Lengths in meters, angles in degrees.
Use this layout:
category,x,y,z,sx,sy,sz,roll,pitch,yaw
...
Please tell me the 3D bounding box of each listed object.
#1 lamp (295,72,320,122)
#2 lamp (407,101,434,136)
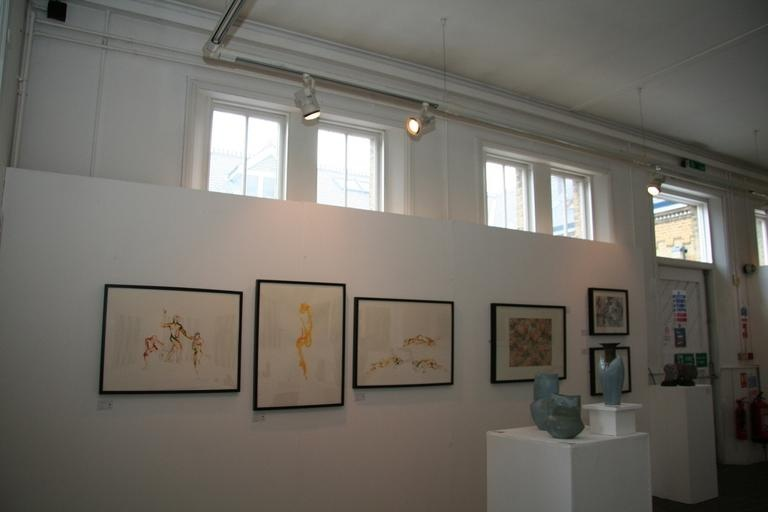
category,x,y,z,sx,sy,sz,roll,pitch,yaw
lamp,-1.034,-2.116,7.531,0.348,0.633,0.311,0,-4,25
lamp,0.551,-1.992,8.333,0.380,0.512,0.593,1,-4,6
